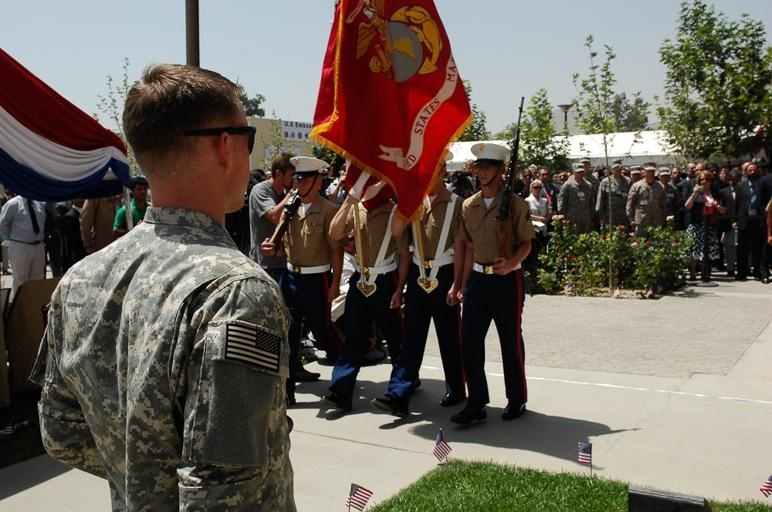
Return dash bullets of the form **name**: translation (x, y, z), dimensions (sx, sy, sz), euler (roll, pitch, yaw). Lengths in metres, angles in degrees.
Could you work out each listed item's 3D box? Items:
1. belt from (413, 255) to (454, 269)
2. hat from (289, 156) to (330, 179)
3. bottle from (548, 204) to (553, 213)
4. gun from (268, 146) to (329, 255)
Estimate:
- **belt**: translation (0.501, 0.043, 8.421), dimensions (0.434, 0.116, 0.133), euler (-1, 10, 4)
- **hat**: translation (-0.825, -1.012, 8.829), dimensions (0.283, 0.130, 0.311), euler (1, 7, 26)
- **bottle**: translation (3.362, -0.993, 16.328), dimensions (0.019, 0.259, 0.254), euler (-3, 4, 30)
- **gun**: translation (-0.940, -0.645, 8.945), dimensions (0.493, 1.273, 0.484), euler (24, 4, 12)
